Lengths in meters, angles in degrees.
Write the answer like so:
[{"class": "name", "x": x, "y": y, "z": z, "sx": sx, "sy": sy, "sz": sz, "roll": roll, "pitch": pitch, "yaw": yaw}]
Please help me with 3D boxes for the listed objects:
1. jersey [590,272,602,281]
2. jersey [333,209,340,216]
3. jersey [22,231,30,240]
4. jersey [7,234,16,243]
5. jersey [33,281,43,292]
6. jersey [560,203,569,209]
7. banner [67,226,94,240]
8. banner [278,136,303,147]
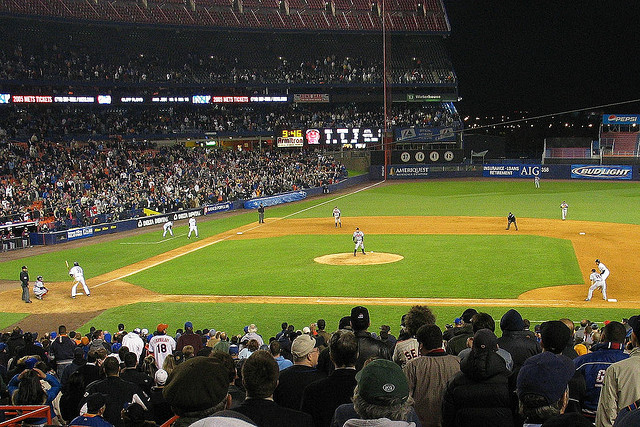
[{"class": "jersey", "x": 14.770, "y": 3.389, "z": 38.988, "sx": 0.568, "sy": 0.378, "sz": 0.418, "roll": -2, "pitch": 2, "yaw": 19}, {"class": "jersey", "x": 1.395, "y": -0.013, "z": 60.824, "sx": 0.516, "sy": 0.637, "sz": 0.257, "roll": -1, "pitch": 4, "yaw": 4}, {"class": "jersey", "x": -22.880, "y": 1.744, "z": 56.693, "sx": 0.586, "sy": 0.534, "sz": 0.401, "roll": -4, "pitch": 2, "yaw": -41}, {"class": "jersey", "x": -23.554, "y": 1.951, "z": 55.937, "sx": 0.394, "sy": 0.536, "sz": 0.775, "roll": -2, "pitch": 1, "yaw": 7}, {"class": "jersey", "x": -16.582, "y": 4.323, "z": 42.976, "sx": 0.738, "sy": 0.667, "sz": 0.398, "roll": 7, "pitch": -4, "yaw": 24}, {"class": "jersey", "x": 19.659, "y": -0.430, "z": 58.677, "sx": 0.806, "sy": 0.313, "sz": 0.762, "roll": 6, "pitch": 24, "yaw": 14}, {"class": "banner", "x": -19.357, "y": 1.637, "z": 58.995, "sx": 0.183, "sy": 0.801, "sz": 2.434, "roll": -2, "pitch": 1, "yaw": 34}, {"class": "banner", "x": -3.448, "y": -8.256, "z": 85.787, "sx": 2.911, "sy": 0.738, "sz": 0.411, "roll": -2, "pitch": 2, "yaw": -2}]
